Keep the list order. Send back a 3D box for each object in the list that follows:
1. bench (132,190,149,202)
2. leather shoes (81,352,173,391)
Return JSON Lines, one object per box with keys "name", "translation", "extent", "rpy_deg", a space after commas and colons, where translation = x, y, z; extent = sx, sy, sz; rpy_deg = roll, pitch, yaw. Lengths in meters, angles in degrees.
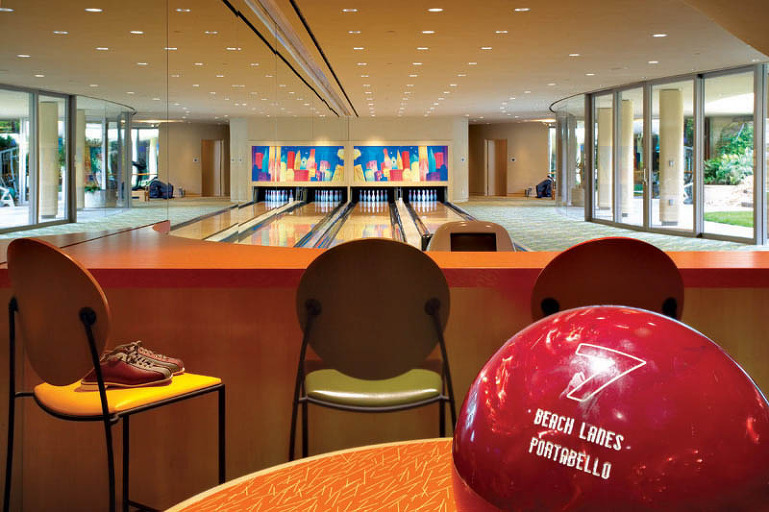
{"name": "bench", "translation": [-2.537, -0.622, 5.154], "extent": [0.120, 0.146, 0.087], "rpy_deg": [-1, 0, -7]}
{"name": "leather shoes", "translation": [-0.874, 0.373, 1.670], "extent": [0.279, 0.135, 0.117], "rpy_deg": [-1, 1, -13]}
